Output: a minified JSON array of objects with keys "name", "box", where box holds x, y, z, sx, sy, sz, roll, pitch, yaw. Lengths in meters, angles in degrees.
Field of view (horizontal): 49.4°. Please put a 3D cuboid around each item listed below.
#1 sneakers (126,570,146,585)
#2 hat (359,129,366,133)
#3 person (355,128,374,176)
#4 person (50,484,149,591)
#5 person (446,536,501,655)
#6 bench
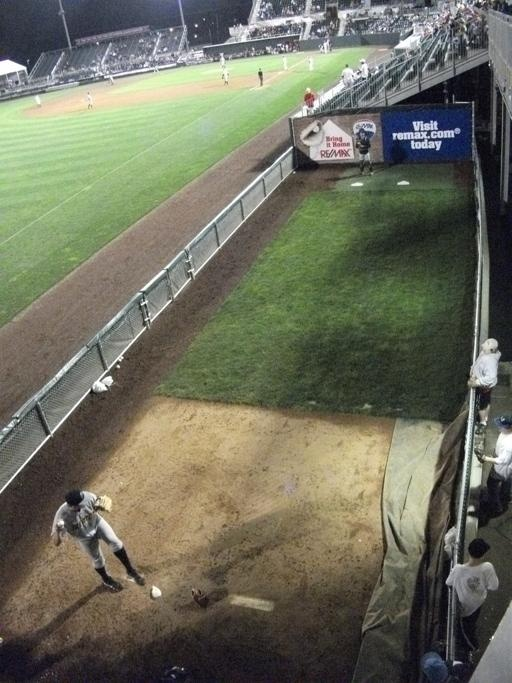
[{"name":"sneakers","box":[-1.509,2.986,6.997,0.221,0.149,0.094,30,64,32]},{"name":"hat","box":[4.095,-8.076,21.314,0.176,0.198,0.210,2,12,43]},{"name":"person","box":[4.236,-7.362,21.503,0.597,1.586,1.613,-3,24,10]},{"name":"person","box":[-2.004,2.599,7.154,0.566,1.324,0.678,23,60,40]},{"name":"person","box":[2.020,2.362,5.230,0.406,1.267,0.389,8,27,22]},{"name":"bench","box":[6.139,-12.260,25.249,5.515,2.601,2.348,4,26,25]}]
